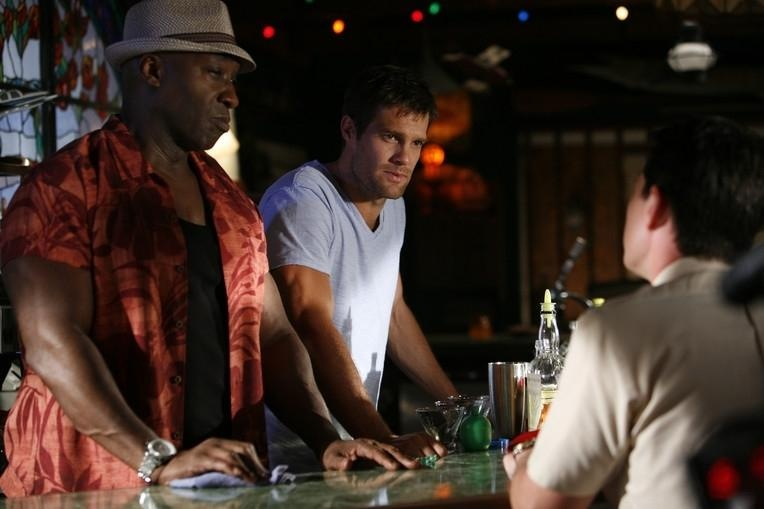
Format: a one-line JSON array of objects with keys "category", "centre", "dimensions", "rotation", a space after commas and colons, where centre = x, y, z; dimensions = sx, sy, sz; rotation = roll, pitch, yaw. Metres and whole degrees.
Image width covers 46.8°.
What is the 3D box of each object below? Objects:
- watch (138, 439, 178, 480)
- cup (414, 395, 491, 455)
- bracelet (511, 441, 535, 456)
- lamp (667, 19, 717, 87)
[{"category": "watch", "centre": [-0.612, 0.555, 2.392], "dimensions": [0.078, 0.115, 0.047], "rotation": [32, 3, 9]}, {"category": "cup", "centre": [0.260, 0.549, 2.864], "dimensions": [0.216, 0.156, 0.261], "rotation": [2, 2, 29]}, {"category": "bracelet", "centre": [0.379, 0.518, 2.331], "dimensions": [0.035, 0.010, 0.034], "rotation": [-23, -14, -48]}, {"category": "lamp", "centre": [1.723, -1.084, 4.904], "dimensions": [0.237, 0.180, 0.407], "rotation": [-4, 10, 18]}]
